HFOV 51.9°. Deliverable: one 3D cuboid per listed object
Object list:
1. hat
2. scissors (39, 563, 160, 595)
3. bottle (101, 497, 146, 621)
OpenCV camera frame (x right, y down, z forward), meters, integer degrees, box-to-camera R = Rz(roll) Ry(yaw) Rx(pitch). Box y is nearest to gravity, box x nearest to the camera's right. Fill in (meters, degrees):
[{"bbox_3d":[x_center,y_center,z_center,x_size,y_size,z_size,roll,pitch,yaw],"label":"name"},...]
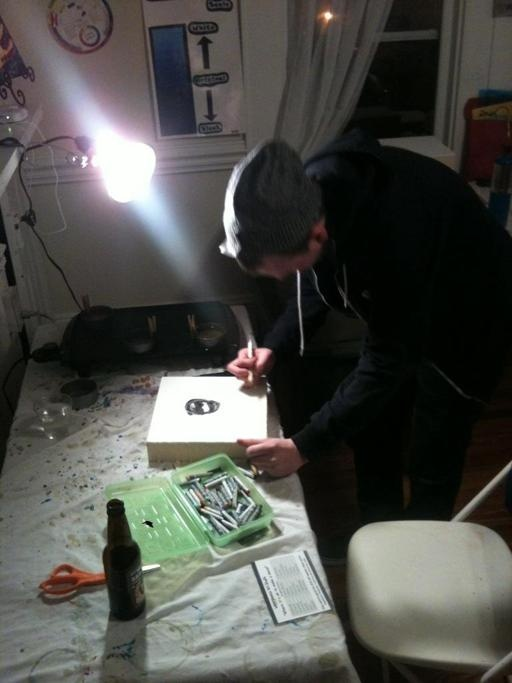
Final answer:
[{"bbox_3d":[0.016,-0.293,1.043,0.164,0.163,0.211,-16,50,23],"label":"hat"},{"bbox_3d":[-0.300,0.428,0.963,0.177,0.019,0.070,-1,15,-13],"label":"scissors"},{"bbox_3d":[-0.217,0.342,0.837,0.064,0.261,0.064,0,30,0],"label":"bottle"}]
